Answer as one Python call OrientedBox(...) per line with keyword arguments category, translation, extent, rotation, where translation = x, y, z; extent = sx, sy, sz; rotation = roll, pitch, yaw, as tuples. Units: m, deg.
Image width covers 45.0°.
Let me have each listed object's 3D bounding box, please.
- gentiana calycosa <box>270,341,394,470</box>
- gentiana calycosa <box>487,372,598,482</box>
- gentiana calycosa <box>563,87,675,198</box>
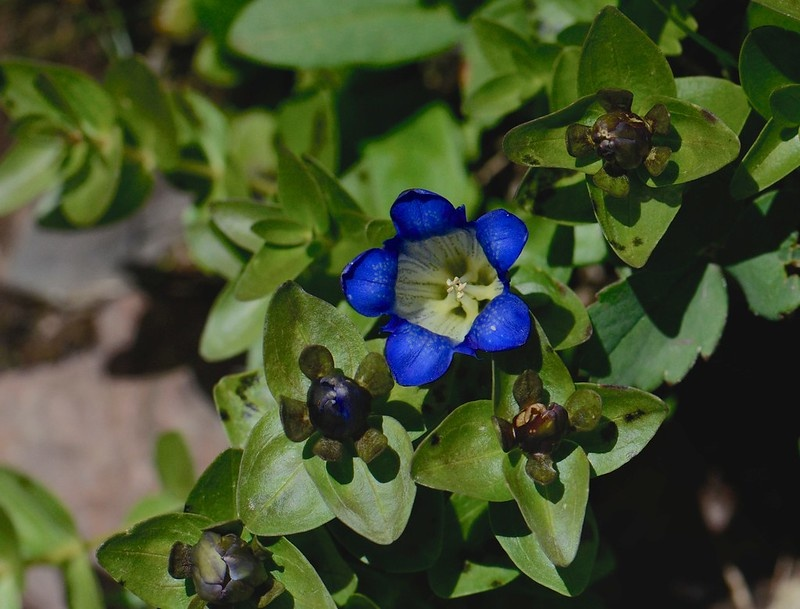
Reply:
OrientedBox(category="gentiana calycosa", translation=(-0.140, 0.251, 2.461), extent=(0.289, 0.150, 0.298), rotation=(33, 78, 26))
OrientedBox(category="gentiana calycosa", translation=(0.368, 0.298, 2.466), extent=(0.279, 0.169, 0.214), rotation=(-43, 68, -14))
OrientedBox(category="gentiana calycosa", translation=(0.572, -0.419, 2.507), extent=(0.213, 0.132, 0.311), rotation=(2, 86, 7))
